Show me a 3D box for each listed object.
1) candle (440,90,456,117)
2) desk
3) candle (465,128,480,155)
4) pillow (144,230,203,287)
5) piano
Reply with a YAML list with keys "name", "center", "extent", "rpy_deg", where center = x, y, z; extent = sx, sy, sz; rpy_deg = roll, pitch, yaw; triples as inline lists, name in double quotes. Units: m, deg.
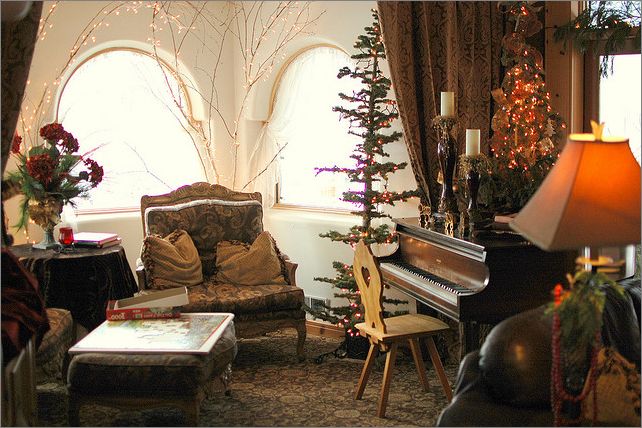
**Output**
- name: "candle"
  center: [0.948, -0.806, 3.567]
  extent: [0.099, 0.190, 0.082]
  rpy_deg: [-1, 10, -4]
- name: "desk"
  center: [-2.275, 0.635, 4.219]
  extent: [1.175, 0.590, 1.133]
  rpy_deg: [-4, 4, -20]
- name: "candle"
  center: [1.099, -0.511, 3.447]
  extent: [0.109, 0.182, 0.081]
  rpy_deg: [-2, 10, -7]
- name: "pillow"
  center: [-1.358, 0.419, 4.369]
  extent: [0.251, 0.391, 0.456]
  rpy_deg: [-6, 3, 45]
- name: "piano"
  center: [1.151, 0.620, 3.817]
  extent: [0.962, 0.891, 1.419]
  rpy_deg: [2, 5, -12]
